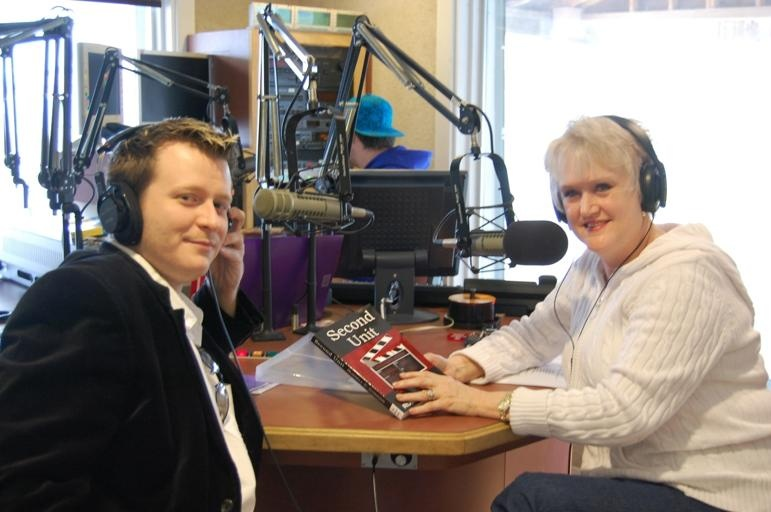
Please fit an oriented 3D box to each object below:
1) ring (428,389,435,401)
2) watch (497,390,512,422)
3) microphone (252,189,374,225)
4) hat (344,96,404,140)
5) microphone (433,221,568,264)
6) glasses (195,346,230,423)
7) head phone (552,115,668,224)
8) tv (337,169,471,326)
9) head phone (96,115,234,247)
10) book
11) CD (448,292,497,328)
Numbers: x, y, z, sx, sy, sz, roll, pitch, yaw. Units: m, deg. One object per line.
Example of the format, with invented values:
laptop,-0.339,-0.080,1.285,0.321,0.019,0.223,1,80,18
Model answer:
ring,0.133,0.409,2.052,0.024,0.025,0.025,1,-3,0
watch,0.351,0.444,2.044,0.031,0.057,0.068,9,-12,13
microphone,-0.212,-0.116,2.224,0.106,0.108,0.457,-8,-9,40
hat,-0.040,-0.675,3.573,0.319,0.192,0.297,-9,21,-31
microphone,0.403,-0.039,2.555,0.504,0.151,0.153,1,-6,29
glasses,-0.473,0.363,1.948,0.050,0.168,0.163,-2,37,-32
head phone,0.713,-0.274,2.237,0.360,0.327,0.136,-5,-16,15
tv,0.065,-0.045,2.825,0.617,0.731,0.382,1,7,-1
head phone,-0.590,-0.190,1.882,0.446,0.398,0.177,3,0,-22
book,-0.049,0.295,2.123,0.367,0.049,0.260,40,38,21
CD,0.345,0.224,2.821,0.149,0.095,0.149,0,3,3
